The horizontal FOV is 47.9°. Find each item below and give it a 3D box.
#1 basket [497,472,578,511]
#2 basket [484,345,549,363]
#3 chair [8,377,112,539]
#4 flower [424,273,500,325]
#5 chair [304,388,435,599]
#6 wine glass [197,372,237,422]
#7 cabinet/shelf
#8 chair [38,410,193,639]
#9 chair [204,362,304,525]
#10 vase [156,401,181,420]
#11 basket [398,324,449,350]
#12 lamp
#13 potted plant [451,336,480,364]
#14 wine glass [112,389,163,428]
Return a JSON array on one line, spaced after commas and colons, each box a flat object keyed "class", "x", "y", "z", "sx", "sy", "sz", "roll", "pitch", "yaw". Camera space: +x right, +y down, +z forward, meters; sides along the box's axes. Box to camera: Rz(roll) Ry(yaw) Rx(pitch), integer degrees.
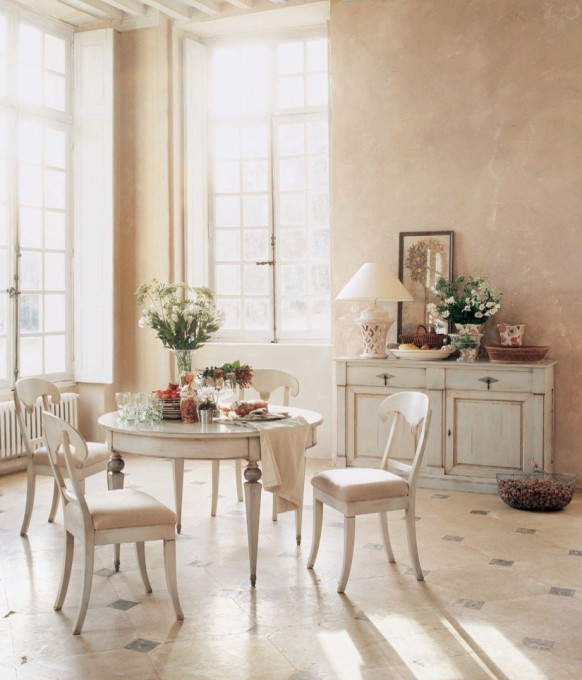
[{"class": "basket", "x": 1.531, "y": 0.951, "z": 4.119, "sx": 0.320, "sy": 0.120, "sz": 0.293, "roll": -2, "pitch": 0, "yaw": 23}, {"class": "basket", "x": 1.528, "y": 0.103, "z": 4.467, "sx": 0.391, "sy": 0.107, "sz": 0.208, "roll": 0, "pitch": 0, "yaw": 25}, {"class": "chair", "x": -1.264, "y": 0.637, "z": 3.762, "sx": 0.612, "sy": 0.839, "sz": 0.631, "roll": -2, "pitch": -2, "yaw": 28}, {"class": "flower", "x": 1.272, "y": -0.275, "z": 4.798, "sx": 0.402, "sy": 0.310, "sz": 0.475, "roll": 1, "pitch": 2, "yaw": 6}, {"class": "chair", "x": 0.352, "y": 0.646, "z": 2.965, "sx": 0.533, "sy": 0.740, "sz": 0.457, "roll": -2, "pitch": 1, "yaw": -17}, {"class": "wine glass", "x": -0.371, "y": 0.269, "z": 3.093, "sx": 0.195, "sy": 0.196, "sz": 0.221, "roll": 1, "pitch": -3, "yaw": -41}, {"class": "cabinet/shelf", "x": 1.085, "y": 0.538, "z": 4.270, "sx": 1.107, "sy": 0.603, "sz": 0.347, "roll": 0, "pitch": -2, "yaw": 24}, {"class": "chair", "x": -0.702, "y": 0.671, "z": 2.513, "sx": 0.495, "sy": 0.700, "sz": 0.449, "roll": 4, "pitch": -5, "yaw": -25}, {"class": "chair", "x": -0.235, "y": 0.629, "z": 3.972, "sx": 0.537, "sy": 0.873, "sz": 0.495, "roll": -4, "pitch": -14, "yaw": -11}, {"class": "vase", "x": -0.571, "y": 0.321, "z": 3.056, "sx": 0.097, "sy": 0.035, "sz": 0.098, "roll": 2, "pitch": 3, "yaw": 42}, {"class": "basket", "x": 0.997, "y": -0.016, "z": 4.945, "sx": 0.296, "sy": 0.144, "sz": 0.210, "roll": -2, "pitch": -1, "yaw": 11}, {"class": "lamp", "x": 0.749, "y": -0.259, "z": 5.089, "sx": 0.750, "sy": 0.791, "sz": 0.702, "roll": -2, "pitch": 5, "yaw": -6}, {"class": "potted plant", "x": 1.231, "y": 0.067, "z": 4.622, "sx": 0.192, "sy": 0.166, "sz": 0.187, "roll": 2, "pitch": 5, "yaw": 24}, {"class": "wine glass", "x": -0.711, "y": 0.315, "z": 2.975, "sx": 0.165, "sy": 0.103, "sz": 0.182, "roll": 2, "pitch": -4, "yaw": -39}]
